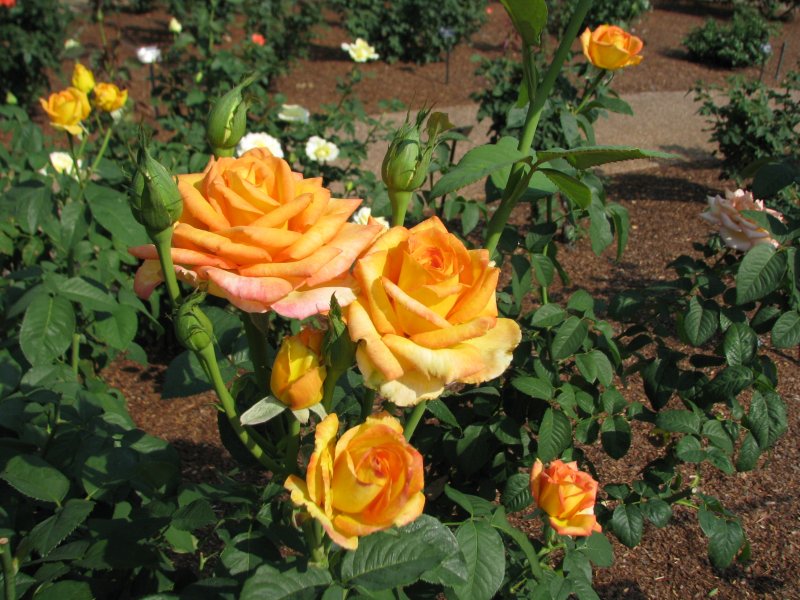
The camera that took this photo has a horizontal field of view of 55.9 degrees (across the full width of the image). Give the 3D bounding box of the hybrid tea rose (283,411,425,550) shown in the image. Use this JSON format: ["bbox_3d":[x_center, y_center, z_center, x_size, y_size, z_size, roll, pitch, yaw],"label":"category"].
[{"bbox_3d":[-0.130,0.479,1.930,0.303,0.301,0.301,-11,51,-31],"label":"hybrid tea rose"}]

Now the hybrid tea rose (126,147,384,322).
[{"bbox_3d":[-0.445,-0.256,1.980,0.485,0.256,0.438,-25,79,-44],"label":"hybrid tea rose"}]

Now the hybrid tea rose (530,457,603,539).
[{"bbox_3d":[0.572,0.708,2.655,0.196,0.143,0.247,15,8,-10],"label":"hybrid tea rose"}]

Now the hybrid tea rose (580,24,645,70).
[{"bbox_3d":[0.880,-1.052,3.181,0.241,0.138,0.257,-7,27,-42],"label":"hybrid tea rose"}]

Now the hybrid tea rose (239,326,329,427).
[{"bbox_3d":[-0.301,0.178,2.008,0.223,0.208,0.225,-17,12,-18],"label":"hybrid tea rose"}]

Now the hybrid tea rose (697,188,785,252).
[{"bbox_3d":[1.415,-0.362,3.164,0.238,0.162,0.247,-1,5,45],"label":"hybrid tea rose"}]
